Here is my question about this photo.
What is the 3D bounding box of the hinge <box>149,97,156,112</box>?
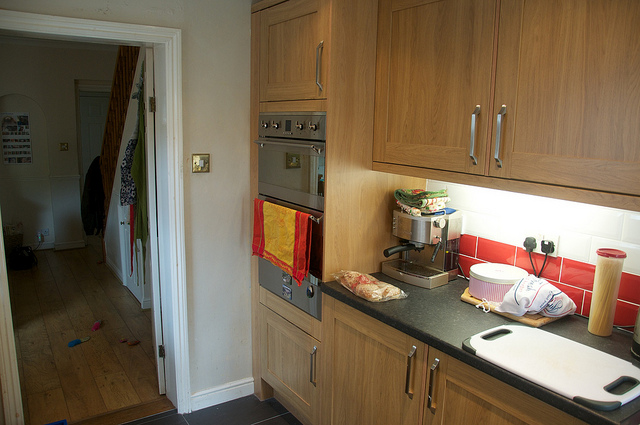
[{"bbox_3d":[-1.213,-0.783,3.248,0.066,0.102,0.014,5,13,28],"label":"hinge"}]

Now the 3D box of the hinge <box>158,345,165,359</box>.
[{"bbox_3d":[-1.242,1.087,3.522,0.050,0.106,0.013,-3,11,-7],"label":"hinge"}]

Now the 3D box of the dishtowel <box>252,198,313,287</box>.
[{"bbox_3d":[-0.278,0.174,3.127,0.070,0.475,0.613,-6,17,-41],"label":"dishtowel"}]
